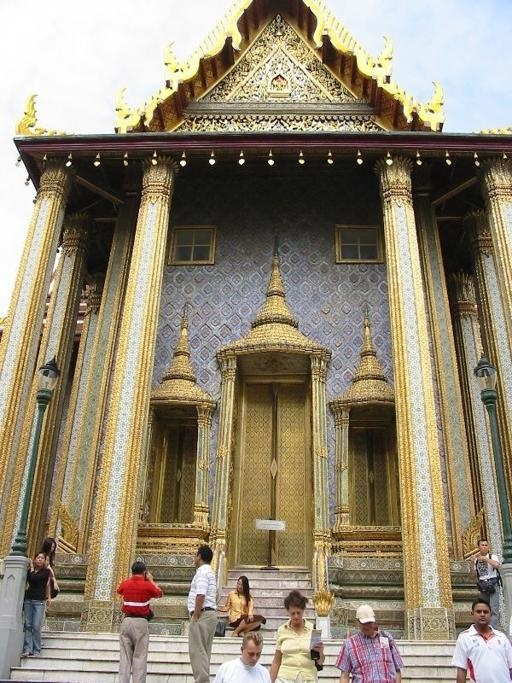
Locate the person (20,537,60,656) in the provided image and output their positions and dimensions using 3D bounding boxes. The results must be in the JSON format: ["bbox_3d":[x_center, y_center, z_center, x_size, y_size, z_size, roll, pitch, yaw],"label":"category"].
[{"bbox_3d":[-1.992,2.372,5.249,0.283,0.897,0.631,10,-24,-15],"label":"person"}]

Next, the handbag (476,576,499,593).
[{"bbox_3d":[2.182,2.279,5.338,0.135,0.177,0.088,2,2,29],"label":"handbag"}]
